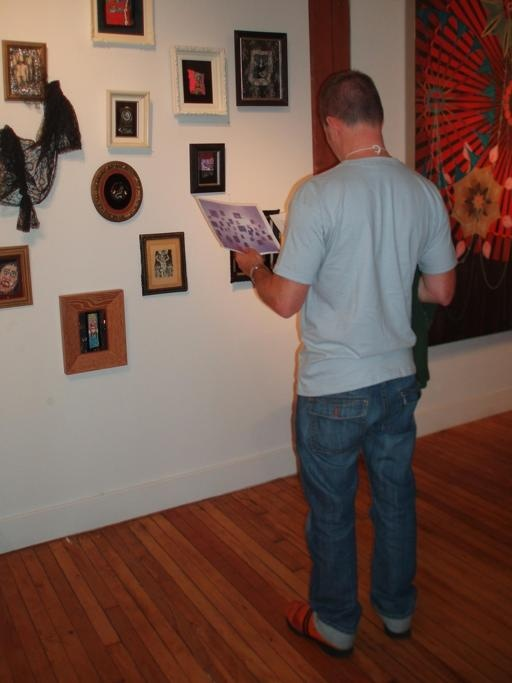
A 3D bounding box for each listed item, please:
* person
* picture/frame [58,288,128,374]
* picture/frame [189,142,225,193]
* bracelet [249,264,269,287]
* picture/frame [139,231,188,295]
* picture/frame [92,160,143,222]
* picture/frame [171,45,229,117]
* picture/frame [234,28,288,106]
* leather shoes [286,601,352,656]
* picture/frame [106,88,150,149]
[{"bbox_3d":[0.251,0.075,1.478,0.480,1.446,0.409,-4,13,-9],"label":"person"},{"bbox_3d":[-0.672,-0.054,2.165,0.304,0.399,0.027,-7,10,-34],"label":"picture/frame"},{"bbox_3d":[-0.221,-0.763,2.323,0.193,0.232,0.023,-11,17,-37],"label":"picture/frame"},{"bbox_3d":[0.006,-0.191,1.457,0.059,0.071,0.069,1,-6,-8],"label":"bracelet"},{"bbox_3d":[-0.407,-0.344,2.290,0.235,0.279,0.020,-11,14,-38],"label":"picture/frame"},{"bbox_3d":[-0.550,-0.594,2.153,0.063,0.228,0.223,22,11,33],"label":"picture/frame"},{"bbox_3d":[-0.246,-1.088,2.231,0.292,0.298,0.032,-6,8,-37],"label":"picture/frame"},{"bbox_3d":[0.009,-1.219,2.368,0.333,0.367,0.025,-6,8,-34],"label":"picture/frame"},{"bbox_3d":[0.188,0.838,1.601,0.086,0.080,0.184,-16,32,-32],"label":"leather shoes"},{"bbox_3d":[-0.512,-0.881,2.102,0.213,0.252,0.026,-10,18,-39],"label":"picture/frame"}]
